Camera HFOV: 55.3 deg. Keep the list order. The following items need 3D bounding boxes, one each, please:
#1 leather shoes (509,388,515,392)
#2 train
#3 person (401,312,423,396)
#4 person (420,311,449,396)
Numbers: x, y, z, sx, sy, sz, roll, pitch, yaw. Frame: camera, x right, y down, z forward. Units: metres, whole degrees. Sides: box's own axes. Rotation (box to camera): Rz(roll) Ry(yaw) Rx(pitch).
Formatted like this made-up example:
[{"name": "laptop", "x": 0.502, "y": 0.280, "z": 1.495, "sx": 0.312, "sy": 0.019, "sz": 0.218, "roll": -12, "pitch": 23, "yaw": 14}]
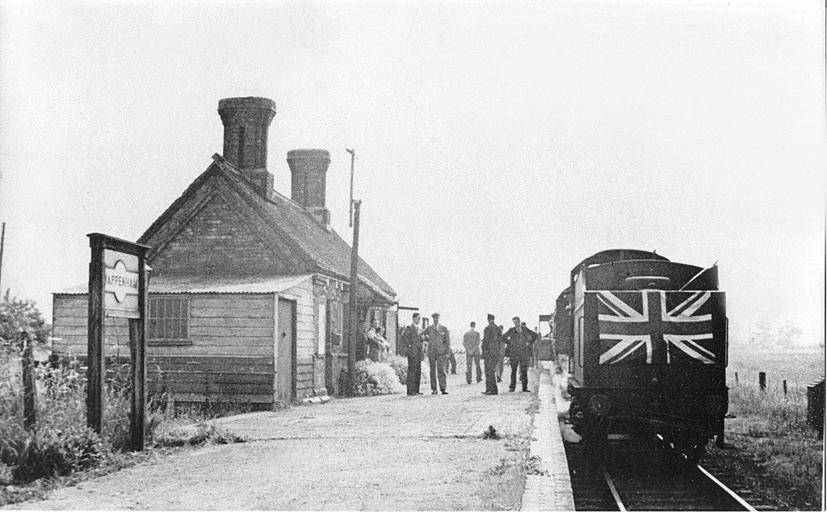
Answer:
[{"name": "leather shoes", "x": 3.296, "y": 4.436, "z": 26.306, "sx": 0.159, "sy": 0.136, "sz": 0.512, "roll": -3, "pitch": -10, "yaw": 7}, {"name": "train", "x": 4.790, "y": 2.050, "z": 16.305, "sx": 3.179, "sy": 4.360, "sz": 2.321, "roll": -5, "pitch": -9, "yaw": 20}, {"name": "person", "x": 0.002, "y": 3.115, "z": 25.194, "sx": 0.626, "sy": 2.573, "sz": 1.274, "roll": -2, "pitch": -8, "yaw": 0}, {"name": "person", "x": 0.758, "y": 3.149, "z": 26.118, "sx": 0.940, "sy": 2.709, "sz": 0.821, "roll": 0, "pitch": -13, "yaw": 2}]
